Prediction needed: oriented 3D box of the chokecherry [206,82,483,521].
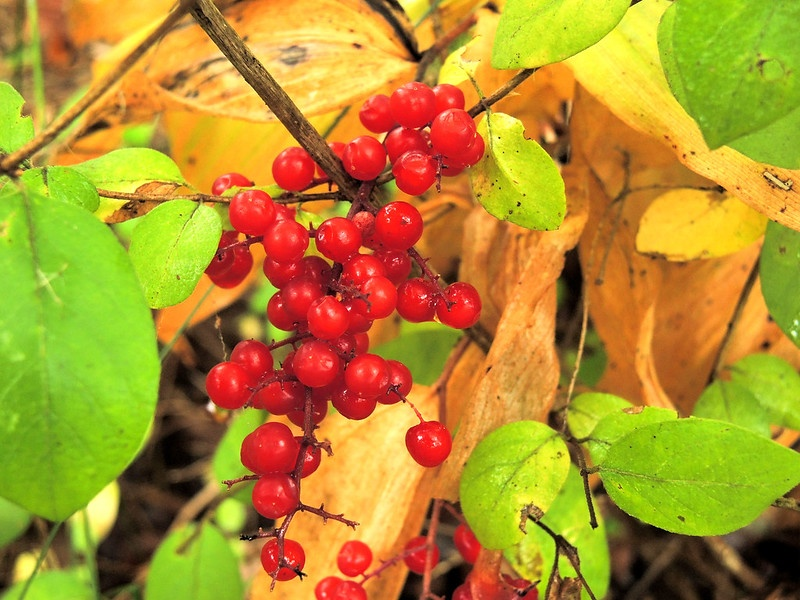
[{"bbox_3d":[-0.068,-0.013,0.923,0.285,0.152,0.544,4,83,-5],"label":"chokecherry"}]
